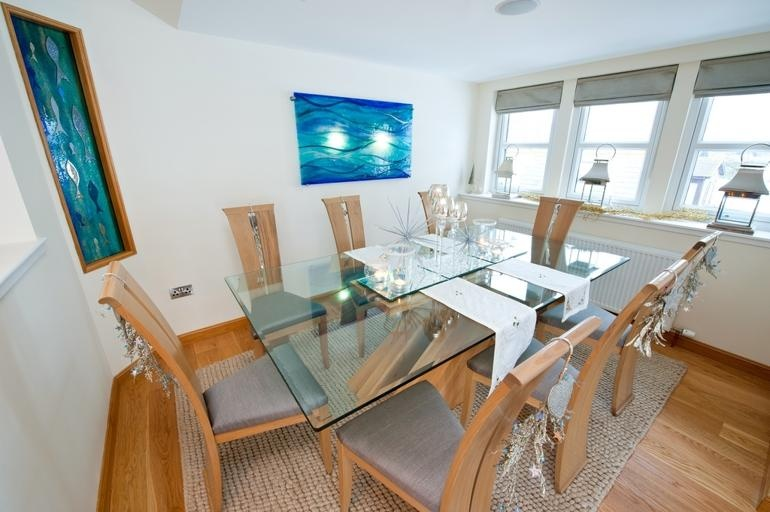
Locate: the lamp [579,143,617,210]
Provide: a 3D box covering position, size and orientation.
[{"bbox_3d":[2.264,-0.853,4.659,0.319,0.643,0.500,7,20,26],"label":"lamp"}]

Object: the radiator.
[{"bbox_3d":[1.809,0.155,3.657,0.112,0.596,1.049,-28,40,-37],"label":"radiator"}]

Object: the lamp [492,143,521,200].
[{"bbox_3d":[1.494,-1.042,5.279,0.247,0.595,0.258,-7,16,-41],"label":"lamp"}]

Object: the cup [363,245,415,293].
[{"bbox_3d":[-0.005,0.061,3.431,0.336,0.302,0.502,-15,21,-35],"label":"cup"}]

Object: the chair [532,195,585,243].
[{"bbox_3d":[1.746,-0.351,4.346,0.360,0.532,0.290,-20,40,-33],"label":"chair"}]

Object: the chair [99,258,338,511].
[{"bbox_3d":[-1.128,0.851,2.930,1.096,1.708,0.569,-6,19,-10],"label":"chair"}]

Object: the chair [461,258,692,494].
[{"bbox_3d":[1.328,0.880,3.084,1.014,1.379,0.799,-25,40,-29],"label":"chair"}]

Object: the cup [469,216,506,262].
[{"bbox_3d":[0.934,-0.195,3.923,0.301,0.284,0.402,2,17,13],"label":"cup"}]

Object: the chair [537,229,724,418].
[{"bbox_3d":[2.018,0.578,3.495,0.848,1.492,0.852,-24,38,-28],"label":"chair"}]
